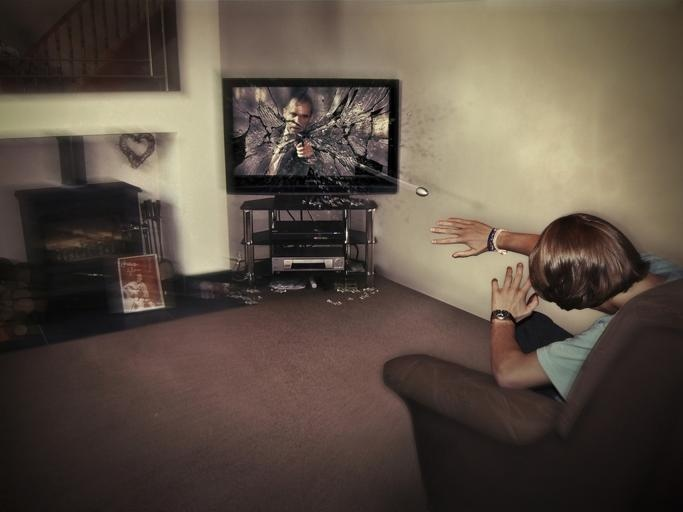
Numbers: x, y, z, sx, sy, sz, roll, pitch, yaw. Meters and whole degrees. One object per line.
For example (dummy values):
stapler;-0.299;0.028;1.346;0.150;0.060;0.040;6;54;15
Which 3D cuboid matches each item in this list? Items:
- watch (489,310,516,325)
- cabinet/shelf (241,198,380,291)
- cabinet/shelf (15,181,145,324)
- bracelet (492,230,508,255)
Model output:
watch;0.535;0.202;1.684;0.051;0.057;0.054;-12;-5;23
cabinet/shelf;-0.227;-0.096;3.517;0.869;0.562;0.418;-1;14;-2
cabinet/shelf;-1.790;-0.066;3.304;0.458;0.779;0.636;12;16;36
bracelet;0.707;-0.066;2.255;0.057;0.084;0.089;-14;23;17
